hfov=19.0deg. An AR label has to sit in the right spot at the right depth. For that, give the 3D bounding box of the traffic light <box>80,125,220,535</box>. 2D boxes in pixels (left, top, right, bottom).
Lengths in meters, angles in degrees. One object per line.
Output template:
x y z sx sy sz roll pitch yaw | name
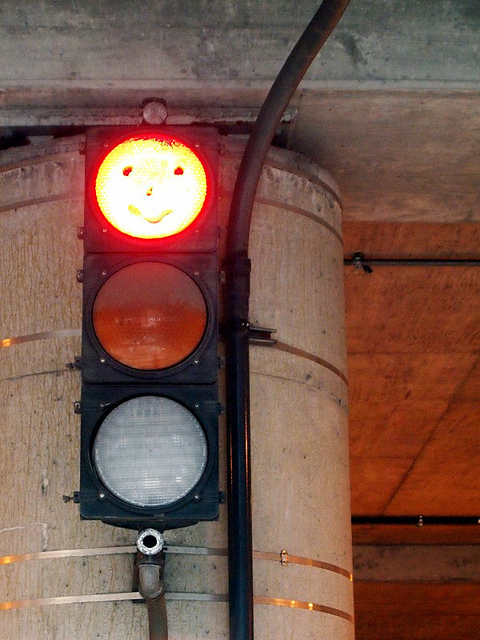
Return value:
-0.292 -0.006 4.669 0.464 1.170 0.736 4 18 -13 | traffic light
